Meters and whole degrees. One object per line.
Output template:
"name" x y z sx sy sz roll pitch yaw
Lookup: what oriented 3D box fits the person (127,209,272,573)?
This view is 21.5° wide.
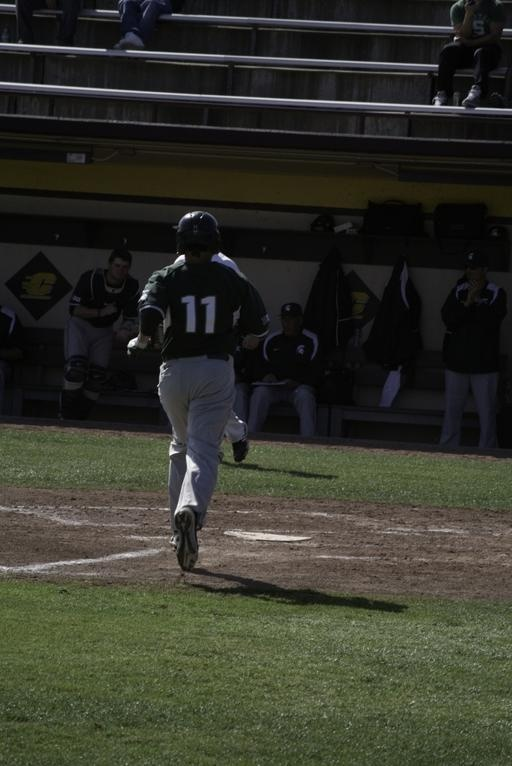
"person" -0.221 0.015 4.466 0.448 1.166 0.875 3 5 5

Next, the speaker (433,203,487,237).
"speaker" 1.516 -1.191 9.940 0.333 0.262 0.246 1 -28 14

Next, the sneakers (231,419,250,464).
"sneakers" -0.070 0.275 6.155 0.066 0.217 0.095 2 27 2

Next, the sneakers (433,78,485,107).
"sneakers" 1.386 -1.954 9.211 0.320 0.179 0.298 4 5 8

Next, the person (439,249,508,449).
"person" 1.361 -0.212 8.691 0.413 1.240 0.545 5 6 24

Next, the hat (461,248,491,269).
"hat" 1.395 -0.776 8.448 0.125 0.120 0.206 4 5 5

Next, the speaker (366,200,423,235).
"speaker" 1.035 -1.209 10.015 0.280 0.303 0.094 5 7 10

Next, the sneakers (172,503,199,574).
"sneakers" -0.209 0.472 4.094 0.064 0.208 0.087 -2 -4 17

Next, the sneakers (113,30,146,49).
"sneakers" -0.970 -2.614 10.318 0.095 0.119 0.256 25 -15 -32
